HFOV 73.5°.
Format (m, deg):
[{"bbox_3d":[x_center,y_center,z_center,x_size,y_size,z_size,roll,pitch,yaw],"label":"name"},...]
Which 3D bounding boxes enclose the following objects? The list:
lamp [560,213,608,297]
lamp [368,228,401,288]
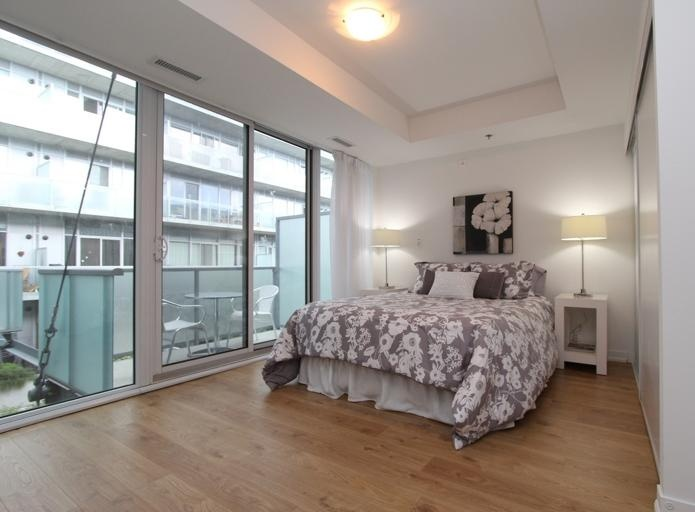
[{"bbox_3d":[2.405,-0.010,4.786,0.400,0.824,0.527,6,12,27],"label":"lamp"},{"bbox_3d":[0.497,0.023,6.221,0.375,0.781,0.460,4,12,18],"label":"lamp"}]
